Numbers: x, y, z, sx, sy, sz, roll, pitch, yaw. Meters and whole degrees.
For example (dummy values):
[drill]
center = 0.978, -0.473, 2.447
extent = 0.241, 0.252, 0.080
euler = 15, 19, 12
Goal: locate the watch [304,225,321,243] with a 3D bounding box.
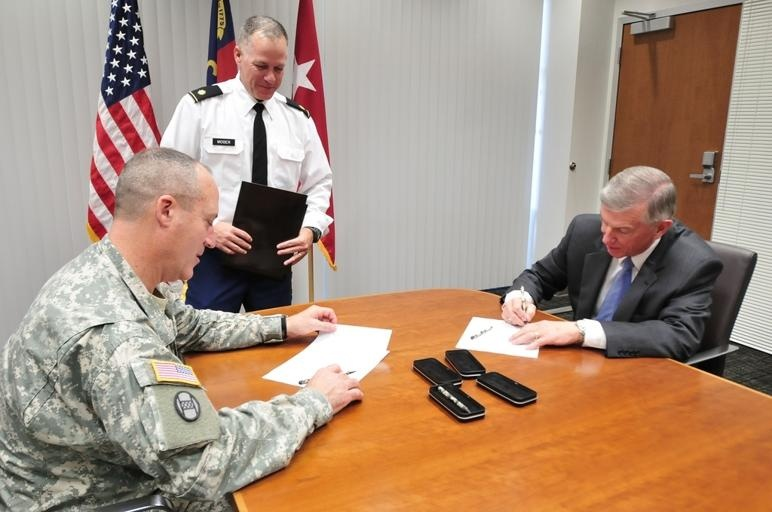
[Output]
[watch]
center = -0.427, -0.143, 3.343
extent = 0.060, 0.097, 0.085
euler = -26, 38, -13

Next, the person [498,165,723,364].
[person]
center = 1.350, -0.004, 3.302
extent = 0.917, 1.583, 0.792
euler = -21, 28, -28

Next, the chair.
[chair]
center = 1.386, 0.216, 3.063
extent = 0.570, 0.948, 0.572
euler = 1, 4, -25
